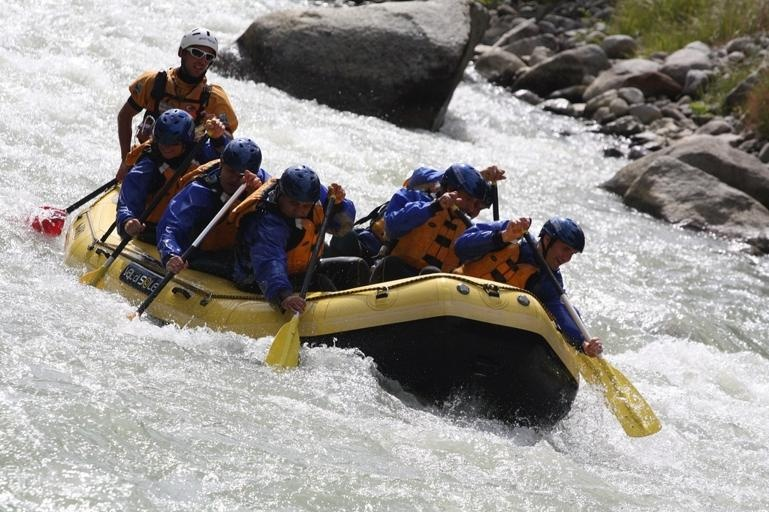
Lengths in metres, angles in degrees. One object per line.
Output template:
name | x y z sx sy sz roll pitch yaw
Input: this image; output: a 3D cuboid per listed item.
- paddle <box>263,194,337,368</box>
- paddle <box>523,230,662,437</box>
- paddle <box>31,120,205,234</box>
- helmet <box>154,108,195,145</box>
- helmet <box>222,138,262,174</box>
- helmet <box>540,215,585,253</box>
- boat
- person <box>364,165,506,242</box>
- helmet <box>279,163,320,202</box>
paddle | -0.811 0.378 10.773 0.330 0.997 1.423 18 28 -4
paddle | 2.282 0.916 11.780 0.489 0.137 2.358 -22 77 -29
paddle | -3.031 -0.857 12.133 0.403 2.051 0.353 54 -1 32
helmet | -2.242 -1.376 11.563 0.409 0.422 0.546 12 12 10
helmet | -1.480 -1.001 11.124 0.292 0.405 0.316 13 15 -7
helmet | 1.880 -0.257 11.131 0.367 0.302 0.522 12 9 -46
boat | -0.411 0.622 10.753 3.593 0.744 2.135 17 -6 21
person | 0.490 -0.532 11.405 0.942 1.051 0.405 -6 67 -62
helmet | -0.870 -0.757 10.847 0.305 0.378 0.399 -5 32 -36
